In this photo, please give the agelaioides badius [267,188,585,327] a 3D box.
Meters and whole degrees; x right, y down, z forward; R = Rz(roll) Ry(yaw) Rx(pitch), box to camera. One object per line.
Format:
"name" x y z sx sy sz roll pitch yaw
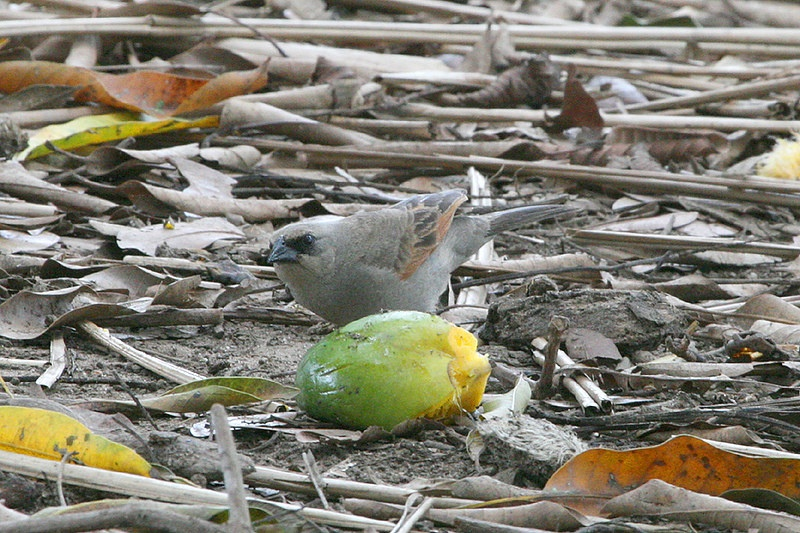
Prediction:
"agelaioides badius" 0.289 -0.195 7.433 2.356 0.547 0.806 -17 52 -32
